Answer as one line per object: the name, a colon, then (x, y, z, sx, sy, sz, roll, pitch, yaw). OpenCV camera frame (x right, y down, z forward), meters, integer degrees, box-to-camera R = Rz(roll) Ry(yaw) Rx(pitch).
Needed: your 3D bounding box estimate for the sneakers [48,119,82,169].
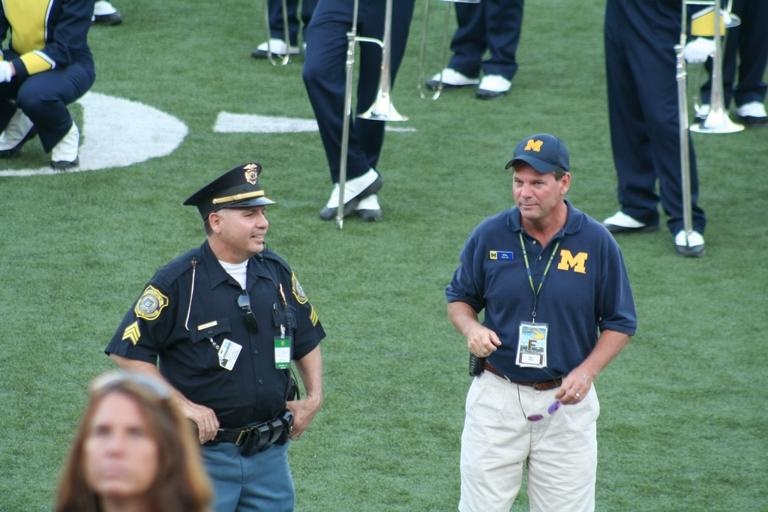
sneakers: (-3.061, -1.071, 13.783, 0.216, 0.487, 0.214, 2, -5, 0)

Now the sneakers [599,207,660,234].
sneakers: (2.204, -0.320, 13.076, 0.592, 0.256, 0.214, 2, 24, -1)

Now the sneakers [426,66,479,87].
sneakers: (0.736, -1.933, 15.297, 0.633, 0.241, 0.233, 1, 8, -8)

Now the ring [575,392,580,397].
ring: (1.349, 0.950, 9.901, 0.033, 0.032, 0.008, 15, 4, 16)

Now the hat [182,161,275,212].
hat: (-1.117, -0.476, 10.210, 0.708, 0.325, 0.603, -10, 2, 15)

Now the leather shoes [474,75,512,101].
leather shoes: (1.193, -1.821, 15.071, 0.445, 0.232, 0.190, -13, 21, -31)

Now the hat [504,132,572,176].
hat: (1.127, -0.755, 10.282, 0.381, 0.279, 0.544, 9, 6, 30)
